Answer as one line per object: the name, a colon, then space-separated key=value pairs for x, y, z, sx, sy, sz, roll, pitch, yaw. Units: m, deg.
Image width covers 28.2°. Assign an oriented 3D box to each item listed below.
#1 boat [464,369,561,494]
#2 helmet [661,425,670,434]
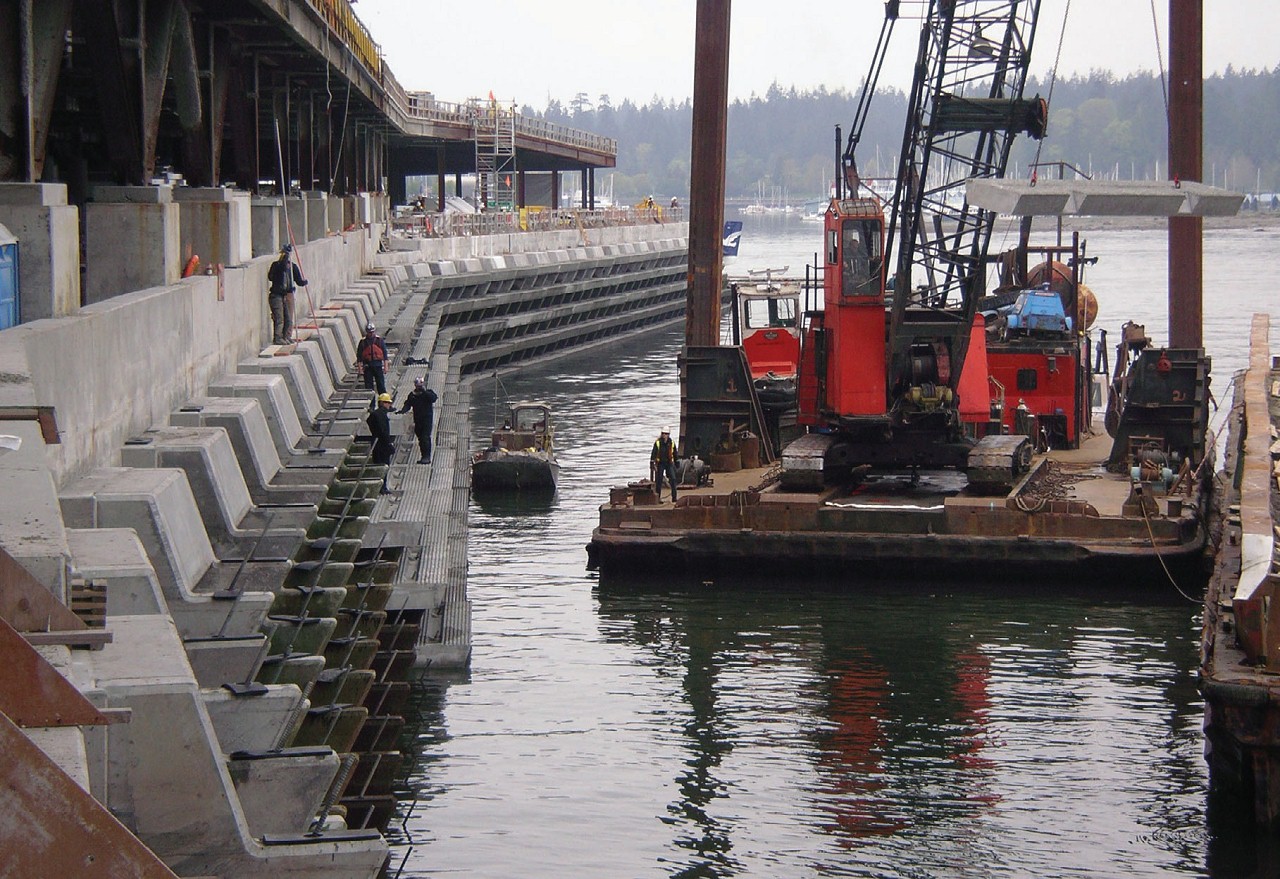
boat: x=-3.339 y=-0.125 z=64.607 sx=2.935 sy=3.262 sz=8.590 roll=-1 pitch=1 yaw=2
helmet: x=0.593 y=-0.221 z=61.512 sx=0.160 sy=0.160 sz=0.165 roll=1 pitch=0 yaw=3
